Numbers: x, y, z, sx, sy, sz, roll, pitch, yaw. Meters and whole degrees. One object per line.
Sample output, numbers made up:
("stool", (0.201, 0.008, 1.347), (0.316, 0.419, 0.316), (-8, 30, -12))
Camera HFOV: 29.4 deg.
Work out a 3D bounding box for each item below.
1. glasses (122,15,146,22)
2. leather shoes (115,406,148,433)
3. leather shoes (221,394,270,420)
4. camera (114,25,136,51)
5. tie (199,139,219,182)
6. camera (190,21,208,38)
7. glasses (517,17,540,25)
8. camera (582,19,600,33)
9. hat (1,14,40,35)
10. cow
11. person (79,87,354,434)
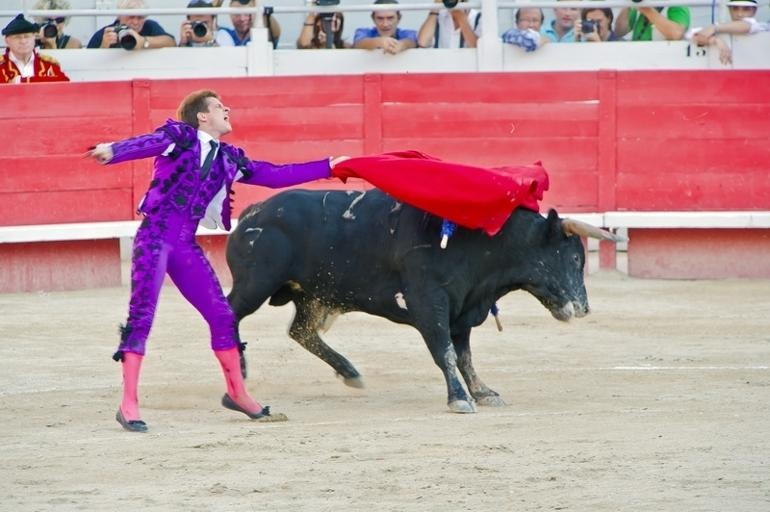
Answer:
("glasses", (-2.029, -1.907, 11.878), (0.095, 0.039, 0.112), (0, -5, -23))
("leather shoes", (-1.305, 0.827, 7.575), (0.219, 0.099, 0.151), (2, 13, 11))
("leather shoes", (-0.731, 0.800, 7.804), (0.299, 0.079, 0.106), (20, 4, -3))
("camera", (-2.031, -1.703, 11.563), (0.183, 0.086, 0.211), (11, 12, -14))
("tie", (-0.915, -0.506, 7.695), (0.071, 0.205, 0.055), (31, -13, -17))
("camera", (-1.430, -1.758, 11.435), (0.132, 0.120, 0.146), (-2, 15, -15))
("glasses", (1.181, -1.902, 11.907), (0.102, 0.056, 0.113), (0, 0, -2))
("camera", (1.667, -1.841, 11.771), (0.132, 0.100, 0.118), (2, 15, 9))
("hat", (-2.715, -1.707, 10.945), (0.272, 0.101, 0.182), (-3, 12, 8))
("cow", (0.134, 0.232, 8.258), (2.526, 1.138, 0.613), (4, -4, 29))
("person", (-0.926, -0.003, 7.715), (1.144, 1.687, 0.618), (-5, 14, -15))
